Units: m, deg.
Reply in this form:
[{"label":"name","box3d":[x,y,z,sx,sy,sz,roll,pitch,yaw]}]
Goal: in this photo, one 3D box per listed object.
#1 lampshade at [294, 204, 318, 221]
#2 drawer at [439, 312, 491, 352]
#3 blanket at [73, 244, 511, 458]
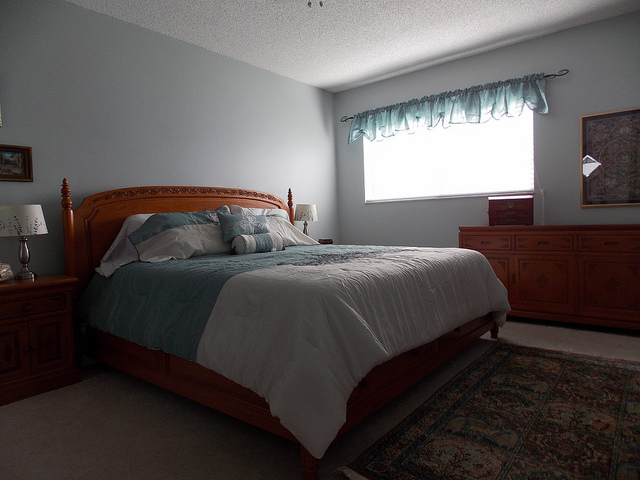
[{"label":"lampshade","box3d":[-0.169,-0.345,5.216,0.210,0.148,0.208,-1,1,42]},{"label":"drawer","box3d":[1.182,0.833,3.390,0.134,0.222,0.875,2,11,41]},{"label":"blanket","box3d":[-0.167,0.635,4.019,3.797,0.978,4.049,-2,0,6]}]
